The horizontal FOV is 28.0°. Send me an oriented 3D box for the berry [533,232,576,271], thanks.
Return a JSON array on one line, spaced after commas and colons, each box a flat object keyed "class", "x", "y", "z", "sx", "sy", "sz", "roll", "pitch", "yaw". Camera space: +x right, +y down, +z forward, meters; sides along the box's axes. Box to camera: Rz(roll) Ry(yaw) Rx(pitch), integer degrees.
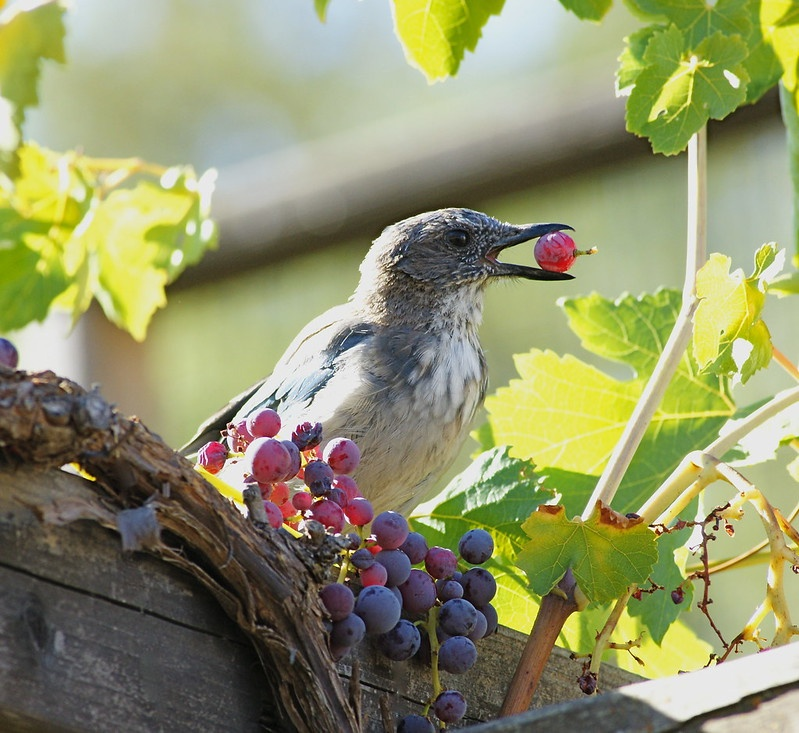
[{"class": "berry", "x": 0.374, "y": -0.267, "z": 3.827, "sx": 0.081, "sy": 0.093, "sz": 0.108, "roll": -2, "pitch": -50, "yaw": -3}]
